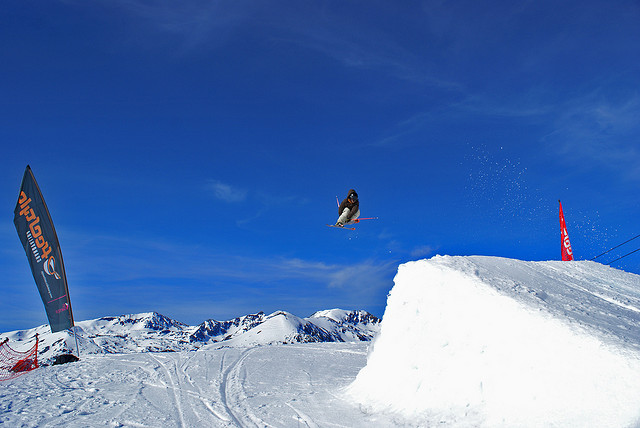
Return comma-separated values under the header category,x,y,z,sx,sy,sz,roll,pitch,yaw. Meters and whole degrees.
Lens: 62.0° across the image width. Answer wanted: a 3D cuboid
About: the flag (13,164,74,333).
category,x,y,z,sx,sy,sz,roll,pitch,yaw
flag,-18.682,2.378,35.988,3.978,10.913,2.337,9,-16,-28
